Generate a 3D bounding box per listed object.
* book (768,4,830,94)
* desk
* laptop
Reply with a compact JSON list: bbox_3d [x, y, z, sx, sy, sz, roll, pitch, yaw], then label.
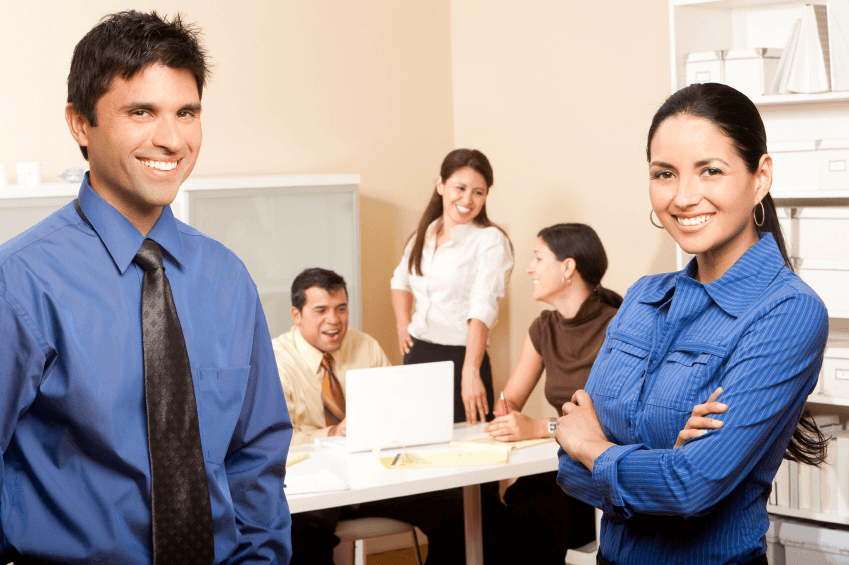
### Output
[{"bbox_3d":[1.629,-1.000,2.914,0.217,0.369,0.079,-2,7,14],"label":"book"},{"bbox_3d":[-0.013,0.981,2.839,1.150,0.653,0.610,-6,7,-19],"label":"desk"},{"bbox_3d":[-0.126,0.427,2.877,0.500,0.347,0.354,-1,2,-21],"label":"laptop"}]
